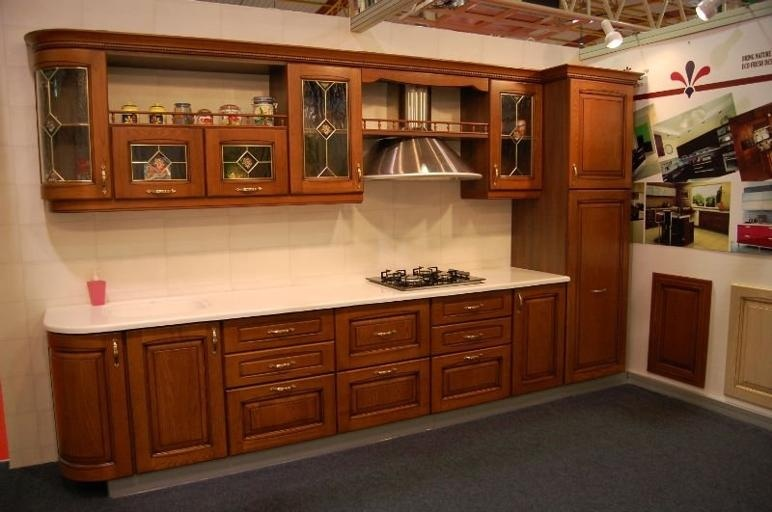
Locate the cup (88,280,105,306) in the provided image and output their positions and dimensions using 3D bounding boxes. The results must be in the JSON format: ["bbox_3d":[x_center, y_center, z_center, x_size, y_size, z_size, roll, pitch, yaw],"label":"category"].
[{"bbox_3d":[-2.130,0.274,4.233,0.119,0.187,0.067,-9,14,-23],"label":"cup"}]

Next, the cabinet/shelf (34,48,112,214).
[{"bbox_3d":[-2.144,-0.892,3.931,0.485,1.031,0.215,-4,13,-2],"label":"cabinet/shelf"}]

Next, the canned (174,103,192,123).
[{"bbox_3d":[-1.492,-1.042,4.181,0.127,0.160,0.197,-8,13,-17],"label":"canned"}]

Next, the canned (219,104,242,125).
[{"bbox_3d":[-1.162,-1.054,4.278,0.172,0.151,0.181,10,13,44],"label":"canned"}]

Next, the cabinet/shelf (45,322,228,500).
[{"bbox_3d":[-1.706,1.037,3.931,1.398,1.096,0.673,-2,0,-26],"label":"cabinet/shelf"}]

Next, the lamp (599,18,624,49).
[{"bbox_3d":[1.768,-1.762,4.515,0.126,0.240,0.387,0,12,18],"label":"lamp"}]

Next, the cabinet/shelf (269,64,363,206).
[{"bbox_3d":[-0.472,-0.957,4.466,0.661,1.052,0.236,-6,13,-11],"label":"cabinet/shelf"}]

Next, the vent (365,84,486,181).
[{"bbox_3d":[0.219,-1.093,4.868,1.059,0.702,0.899,-2,17,-9],"label":"vent"}]

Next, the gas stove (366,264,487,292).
[{"bbox_3d":[0.338,0.174,4.900,0.887,0.113,0.589,-8,12,-23],"label":"gas stove"}]

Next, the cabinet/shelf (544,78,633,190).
[{"bbox_3d":[1.829,-1.074,5.112,0.826,0.984,0.478,-3,13,4],"label":"cabinet/shelf"}]
